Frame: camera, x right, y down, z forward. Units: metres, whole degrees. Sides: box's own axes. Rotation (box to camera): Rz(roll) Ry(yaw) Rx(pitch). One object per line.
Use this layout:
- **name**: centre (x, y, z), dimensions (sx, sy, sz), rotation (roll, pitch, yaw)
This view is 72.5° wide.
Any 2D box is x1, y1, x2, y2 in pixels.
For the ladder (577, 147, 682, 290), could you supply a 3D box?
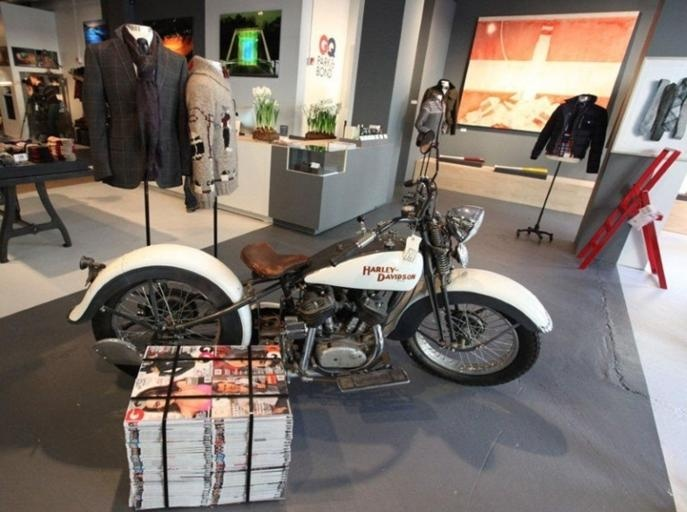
- **ladder**: centre (3.089, -0.448, 4.883), dimensions (0.833, 1.344, 0.653), rotation (19, 30, 24)

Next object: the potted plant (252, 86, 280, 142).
- **potted plant**: centre (-0.965, -1.700, 5.637), dimensions (0.401, 0.560, 0.347), rotation (-4, 13, -16)

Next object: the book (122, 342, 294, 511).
- **book**: centre (-0.663, 0.900, 2.726), dimensions (0.872, 0.806, 0.615), rotation (-1, 15, -2)

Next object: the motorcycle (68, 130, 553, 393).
- **motorcycle**: centre (-0.136, 0.186, 3.024), dimensions (2.846, 1.425, 1.169), rotation (0, 16, -9)

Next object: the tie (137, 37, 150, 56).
- **tie**: centre (-1.345, -1.417, 3.165), dimensions (0.067, 0.105, 0.045), rotation (-6, 8, -21)

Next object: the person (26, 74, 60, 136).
- **person**: centre (-4.367, -2.201, 6.779), dimensions (0.446, 1.121, 0.382), rotation (4, 62, -36)

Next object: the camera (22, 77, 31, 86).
- **camera**: centre (-4.441, -2.455, 6.557), dimensions (0.054, 0.093, 0.125), rotation (26, 33, 33)

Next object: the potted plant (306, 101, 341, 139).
- **potted plant**: centre (-0.286, -1.745, 6.182), dimensions (0.589, 0.541, 0.481), rotation (-3, 36, -10)
